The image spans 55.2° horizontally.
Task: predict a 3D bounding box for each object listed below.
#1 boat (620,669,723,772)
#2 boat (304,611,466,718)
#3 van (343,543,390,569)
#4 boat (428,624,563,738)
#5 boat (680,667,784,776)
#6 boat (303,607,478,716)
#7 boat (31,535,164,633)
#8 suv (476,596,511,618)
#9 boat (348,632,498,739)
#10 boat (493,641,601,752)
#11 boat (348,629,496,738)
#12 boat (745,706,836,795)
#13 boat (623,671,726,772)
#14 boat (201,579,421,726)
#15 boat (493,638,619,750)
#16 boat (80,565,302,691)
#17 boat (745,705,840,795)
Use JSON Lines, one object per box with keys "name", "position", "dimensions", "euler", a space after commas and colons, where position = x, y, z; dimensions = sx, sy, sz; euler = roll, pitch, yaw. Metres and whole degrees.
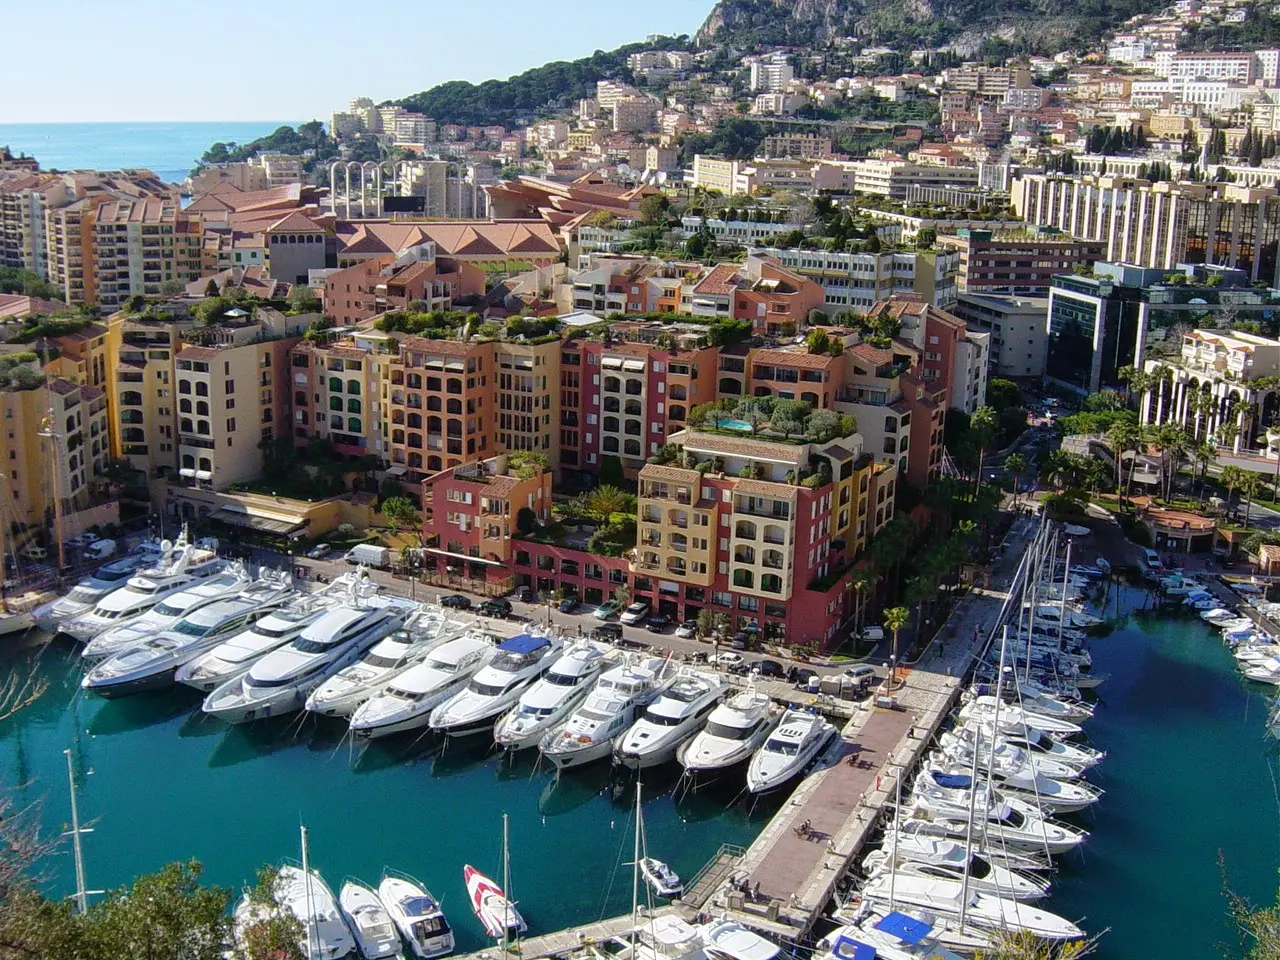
{"name": "boat", "position": [1.905, 14.238, 72.897], "dimensions": [2.682, 2.501, 8.624], "euler": [11, 28, 25]}
{"name": "boat", "position": [-16.189, 12.164, 78.330], "dimensions": [3.256, 3.467, 11.987], "euler": [9, 25, 38]}
{"name": "van", "position": [-20.311, 5.649, 93.897], "dimensions": [4.075, 1.903, 1.417], "euler": [14, 24, 24]}
{"name": "boat", "position": [-8.662, 12.543, 76.047], "dimensions": [3.214, 2.743, 10.230], "euler": [18, 41, 41]}
{"name": "boat", "position": [5.569, 14.918, 72.118], "dimensions": [4.216, 3.461, 8.803], "euler": [7, 18, 32]}
{"name": "boat", "position": [-16.710, 12.729, 78.745], "dimensions": [3.832, 3.985, 12.775], "euler": [18, 34, 33]}
{"name": "boat", "position": [-38.371, 8.084, 88.456], "dimensions": [3.367, 2.608, 11.273], "euler": [12, 24, 23]}
{"name": "suv", "position": [-10.007, 8.937, 86.584], "dimensions": [2.123, 0.827, 2.497], "euler": [-3, 14, -7]}
{"name": "boat", "position": [-13.161, 13.415, 75.893], "dimensions": [3.313, 2.568, 10.957], "euler": [16, 31, 32]}
{"name": "boat", "position": [-5.205, 13.559, 74.475], "dimensions": [2.868, 2.341, 9.733], "euler": [13, 44, 28]}
{"name": "boat", "position": [-12.852, 13.229, 76.202], "dimensions": [3.321, 2.534, 10.961], "euler": [16, 30, 32]}
{"name": "boat", "position": [8.464, 15.484, 70.443], "dimensions": [3.361, 2.301, 9.192], "euler": [12, 25, 28]}
{"name": "boat", "position": [1.955, 14.444, 72.786], "dimensions": [2.659, 2.413, 8.396], "euler": [11, 28, 26]}
{"name": "boat", "position": [-20.979, 11.493, 80.086], "dimensions": [4.718, 3.654, 16.198], "euler": [11, 28, 33]}
{"name": "boat", "position": [-5.091, 12.973, 75.116], "dimensions": [3.644, 2.619, 10.972], "euler": [18, 37, 24]}
{"name": "boat", "position": [-30.273, 11.707, 81.718], "dimensions": [4.627, 4.296, 15.814], "euler": [14, 29, 35]}
{"name": "boat", "position": [8.415, 15.401, 70.472], "dimensions": [3.168, 2.301, 9.105], "euler": [15, 26, 29]}
